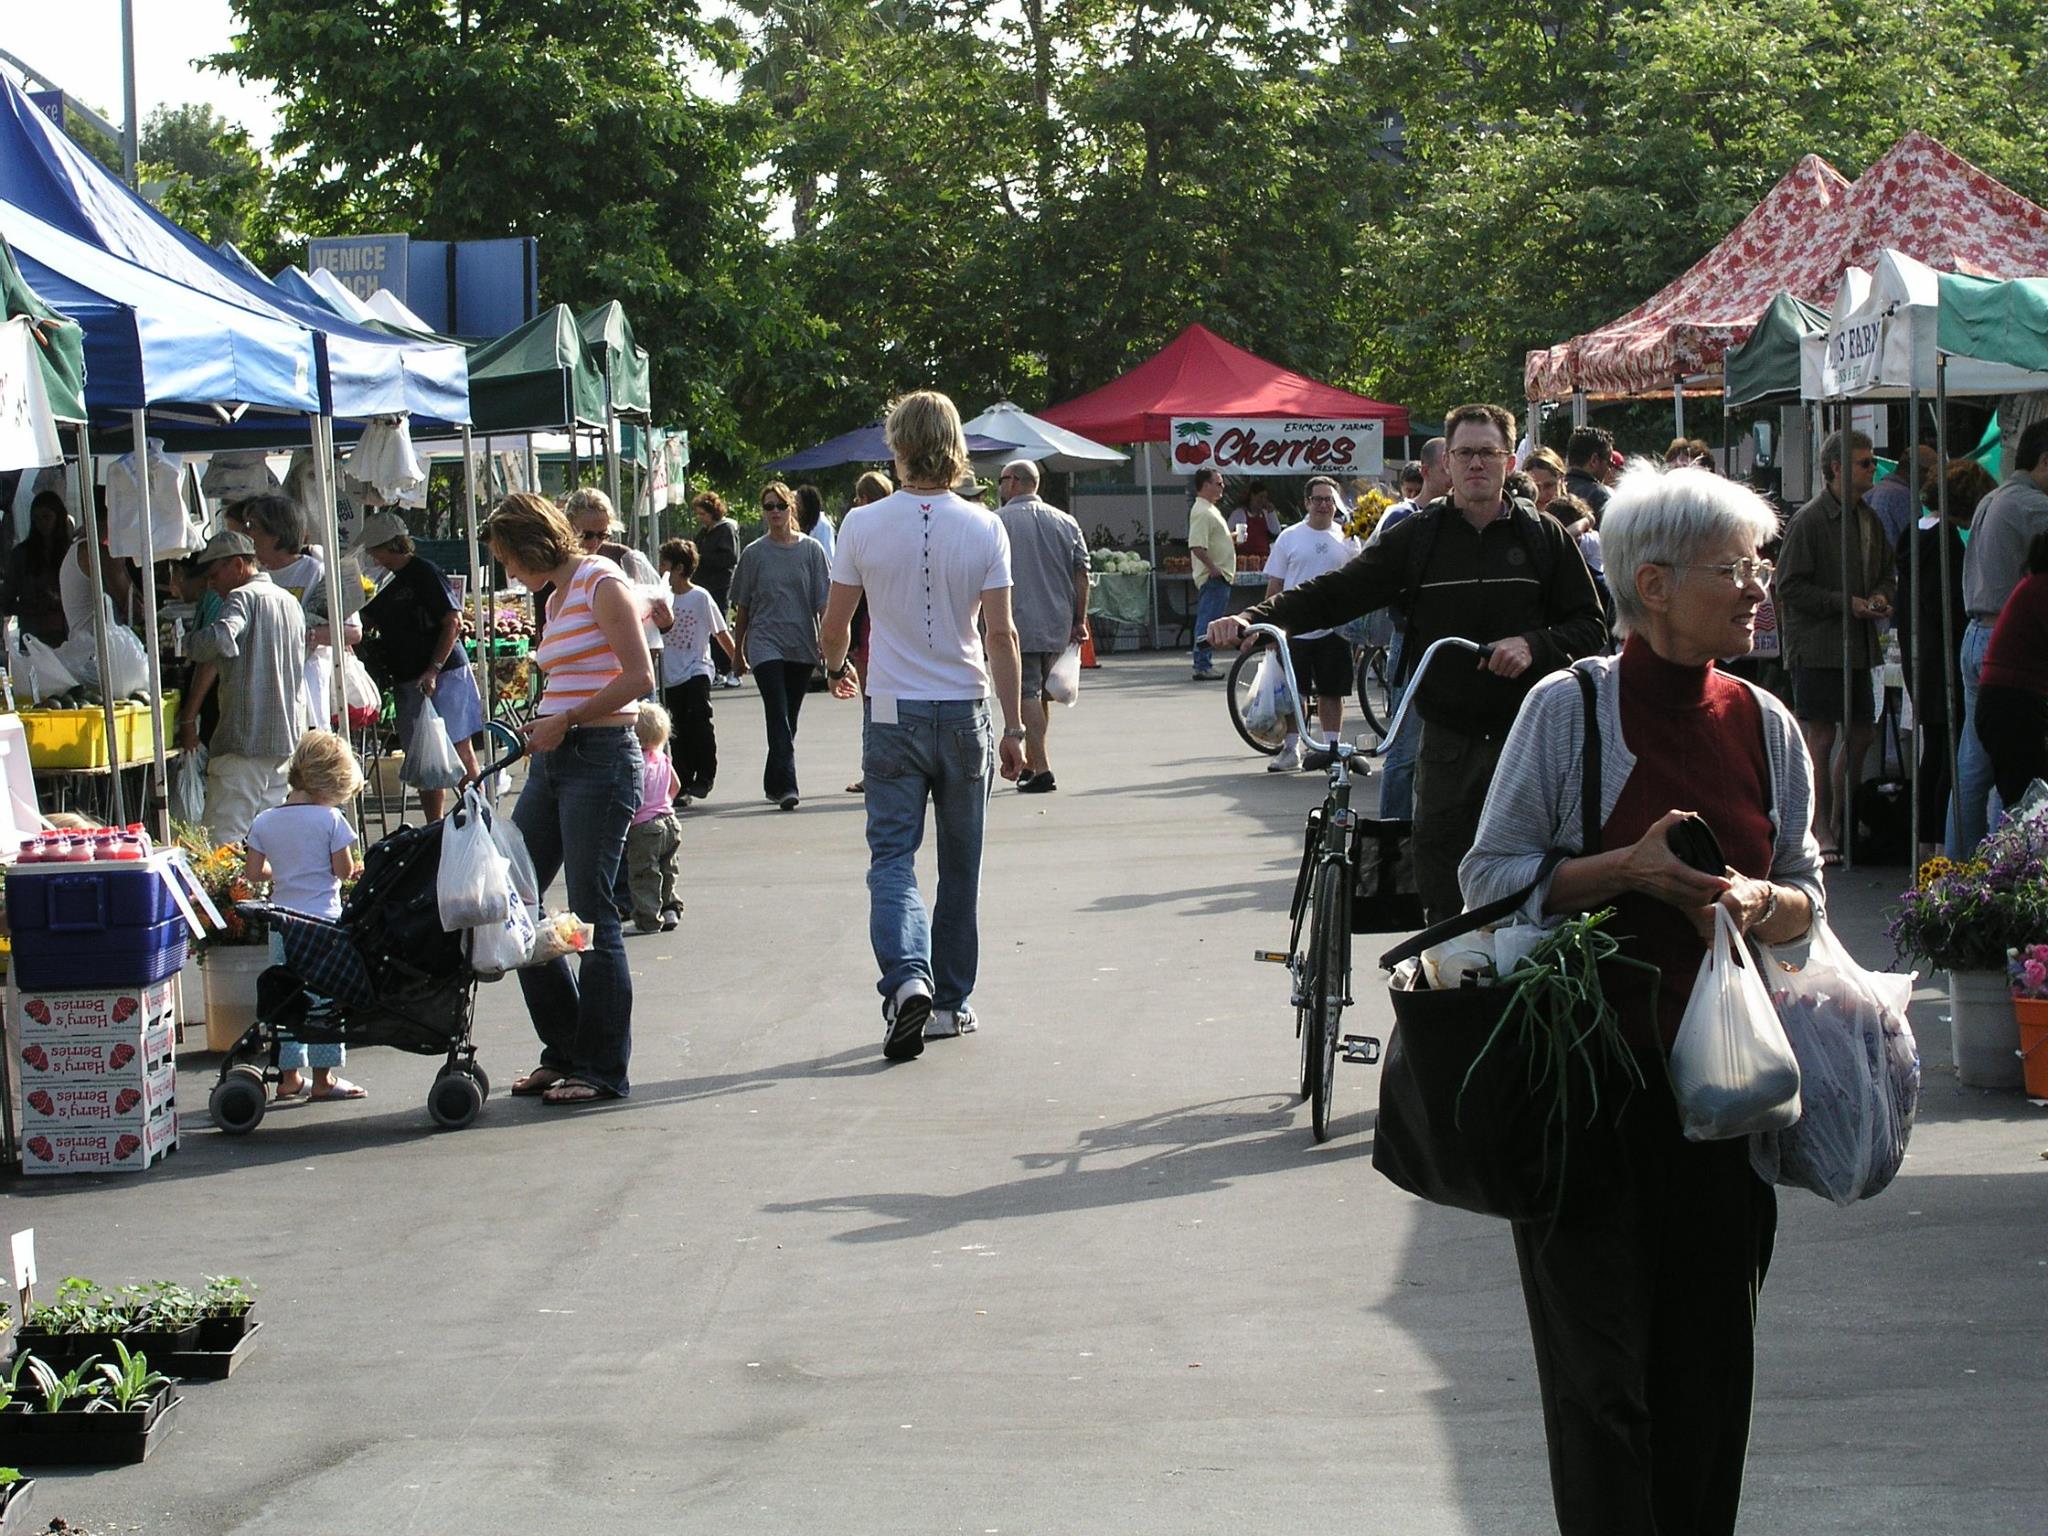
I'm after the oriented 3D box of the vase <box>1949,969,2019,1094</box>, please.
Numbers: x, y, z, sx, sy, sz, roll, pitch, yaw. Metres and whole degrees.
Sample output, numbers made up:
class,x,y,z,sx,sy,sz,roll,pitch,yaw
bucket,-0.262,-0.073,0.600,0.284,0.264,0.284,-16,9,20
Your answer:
class,x,y,z,sx,sy,sz,roll,pitch,yaw
vase,3.526,0.947,12.503,0.294,0.409,0.307,-4,-6,36

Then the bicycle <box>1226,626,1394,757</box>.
class,x,y,z,sx,sy,sz,roll,pitch,yaw
bicycle,1.943,-0.487,23.325,1.544,1.053,0.766,0,3,-5

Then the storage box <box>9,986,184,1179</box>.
class,x,y,z,sx,sy,sz,roll,pitch,yaw
storage box,-3.316,1.138,12.483,0.632,0.870,0.632,-1,1,-10

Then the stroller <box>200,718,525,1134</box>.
class,x,y,z,sx,sy,sz,roll,pitch,yaw
stroller,-2.480,0.562,12.847,1.138,1.467,0.882,0,2,-17

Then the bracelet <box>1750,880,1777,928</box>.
class,x,y,z,sx,sy,sz,roll,pitch,yaw
bracelet,1.863,0.354,8.669,0.043,0.083,0.111,6,-39,-24

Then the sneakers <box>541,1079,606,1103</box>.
class,x,y,z,sx,sy,sz,roll,pitch,yaw
sneakers,-1.656,1.217,12.739,0.186,0.054,0.091,4,8,-5

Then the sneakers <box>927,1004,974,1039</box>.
class,x,y,z,sx,sy,sz,roll,pitch,yaw
sneakers,-0.289,1.018,13.652,0.212,0.078,0.095,-3,17,-13

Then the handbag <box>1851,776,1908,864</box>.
class,x,y,z,sx,sy,sz,roll,pitch,yaw
handbag,4.212,0.277,16.867,0.340,0.490,0.266,3,-9,-8

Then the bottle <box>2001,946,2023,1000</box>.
class,x,y,z,sx,sy,sz,roll,pitch,yaw
bottle,3.549,0.731,12.308,0.035,0.126,0.126,3,1,-9

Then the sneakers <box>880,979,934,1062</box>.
class,x,y,z,sx,sy,sz,roll,pitch,yaw
sneakers,-0.450,0.967,13.257,0.172,0.325,0.220,-3,11,-6

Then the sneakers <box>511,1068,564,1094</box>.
class,x,y,z,sx,sy,sz,roll,pitch,yaw
sneakers,-1.816,1.179,12.859,0.200,0.079,0.081,2,3,9

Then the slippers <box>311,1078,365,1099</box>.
class,x,y,z,sx,sy,sz,roll,pitch,yaw
slippers,-2.610,1.211,13.043,0.217,0.089,0.074,0,21,-6

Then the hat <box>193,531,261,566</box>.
class,x,y,z,sx,sy,sz,roll,pitch,yaw
hat,-3.950,-1.091,16.934,0.245,0.131,0.177,3,4,1

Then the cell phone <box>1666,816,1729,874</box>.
class,x,y,z,sx,sy,sz,roll,pitch,yaw
cell phone,1.709,0.192,8.648,0.159,0.152,0.091,-5,11,-17

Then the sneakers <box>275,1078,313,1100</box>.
class,x,y,z,sx,sy,sz,roll,pitch,yaw
sneakers,-2.745,1.223,12.934,0.144,0.062,0.050,4,6,-11

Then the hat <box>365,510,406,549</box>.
class,x,y,z,sx,sy,sz,roll,pitch,yaw
hat,-3.540,-1.333,19.262,0.310,0.167,0.239,-2,6,-9

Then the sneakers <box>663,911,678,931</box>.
class,x,y,z,sx,sy,sz,roll,pitch,yaw
sneakers,-1.683,0.739,16.414,0.063,0.062,0.112,1,3,-1
